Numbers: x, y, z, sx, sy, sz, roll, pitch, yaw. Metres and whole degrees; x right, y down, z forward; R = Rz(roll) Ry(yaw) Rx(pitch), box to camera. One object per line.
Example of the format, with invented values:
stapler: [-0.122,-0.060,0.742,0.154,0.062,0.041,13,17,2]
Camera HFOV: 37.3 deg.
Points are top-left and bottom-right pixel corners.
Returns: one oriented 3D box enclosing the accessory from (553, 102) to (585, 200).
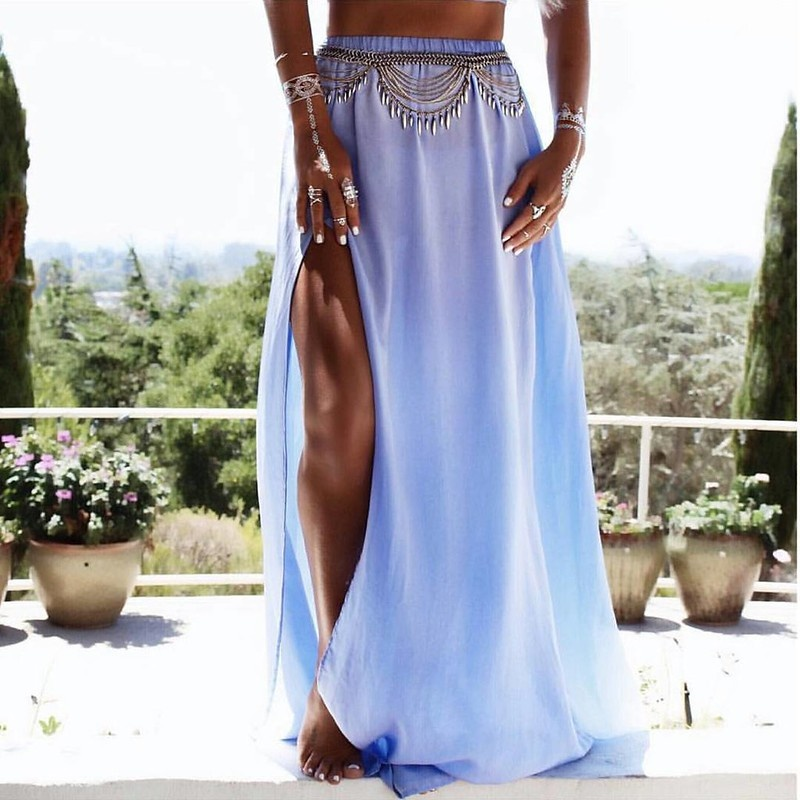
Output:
accessory: [0.366,-0.556,2.552,0.055,0.190,0.116,10,0,2]

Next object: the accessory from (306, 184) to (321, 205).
accessory: [-0.173,-0.427,2.349,0.021,0.037,0.023,-13,-9,-24]

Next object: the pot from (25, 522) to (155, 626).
pot: [-1.116,0.661,4.297,0.260,0.273,0.323,1,-12,2]

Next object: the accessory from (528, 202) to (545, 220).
accessory: [0.287,-0.414,2.466,0.026,0.035,0.007,7,4,-33]

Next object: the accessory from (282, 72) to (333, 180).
accessory: [-0.182,-0.614,2.471,0.084,0.288,0.087,-29,53,-17]

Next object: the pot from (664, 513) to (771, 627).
pot: [1.193,0.678,4.510,0.275,0.396,0.339,2,-10,-1]

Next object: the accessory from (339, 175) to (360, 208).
accessory: [-0.100,-0.434,2.355,0.034,0.063,0.010,2,-2,-25]
